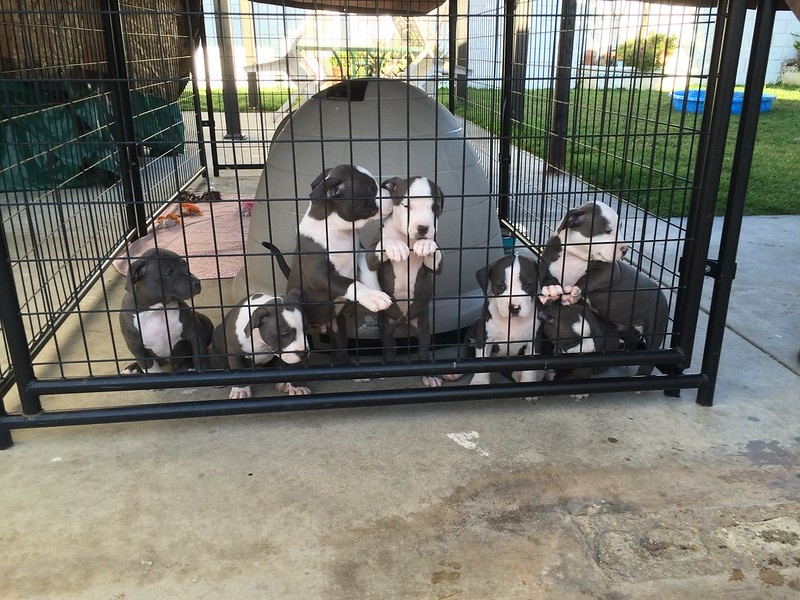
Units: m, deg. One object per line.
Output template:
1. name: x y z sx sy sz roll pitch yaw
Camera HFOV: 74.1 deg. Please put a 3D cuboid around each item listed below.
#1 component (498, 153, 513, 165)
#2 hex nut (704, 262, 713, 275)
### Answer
1. component: 0.942 -1.295 4.832 0.102 0.042 0.128 1 7 3
2. hex nut: 1.508 -0.155 2.614 0.018 0.052 0.058 3 -6 -10
